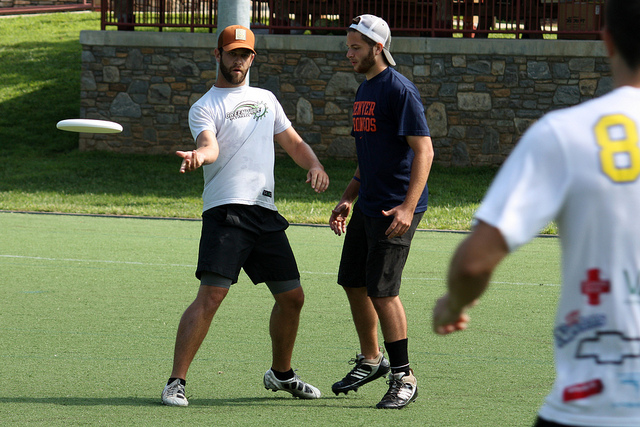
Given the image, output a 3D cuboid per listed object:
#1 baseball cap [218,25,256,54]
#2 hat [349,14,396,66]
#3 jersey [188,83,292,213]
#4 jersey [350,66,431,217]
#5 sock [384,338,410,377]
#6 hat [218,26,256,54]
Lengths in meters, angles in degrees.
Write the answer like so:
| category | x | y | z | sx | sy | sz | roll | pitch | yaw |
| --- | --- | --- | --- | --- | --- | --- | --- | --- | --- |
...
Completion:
| category | x | y | z | sx | sy | sz | roll | pitch | yaw |
| --- | --- | --- | --- | --- | --- | --- | --- | --- | --- |
| baseball cap | -0.775 | -1.650 | 8.840 | 0.359 | 0.265 | 0.498 | 3 | 8 | -20 |
| hat | 0.498 | -1.621 | 8.744 | 0.447 | 0.444 | 0.293 | 4 | 13 | 8 |
| jersey | -0.791 | -0.608 | 8.667 | 0.780 | 1.076 | 0.516 | 0 | 13 | -8 |
| jersey | 0.634 | -0.666 | 8.677 | 0.499 | 1.345 | 0.794 | -6 | 15 | -30 |
| sock | 0.728 | 1.312 | 8.547 | 0.226 | 0.347 | 0.205 | -11 | 6 | -33 |
| hat | -0.770 | -1.658 | 8.861 | 0.381 | 0.273 | 0.513 | 0 | 8 | -27 |
